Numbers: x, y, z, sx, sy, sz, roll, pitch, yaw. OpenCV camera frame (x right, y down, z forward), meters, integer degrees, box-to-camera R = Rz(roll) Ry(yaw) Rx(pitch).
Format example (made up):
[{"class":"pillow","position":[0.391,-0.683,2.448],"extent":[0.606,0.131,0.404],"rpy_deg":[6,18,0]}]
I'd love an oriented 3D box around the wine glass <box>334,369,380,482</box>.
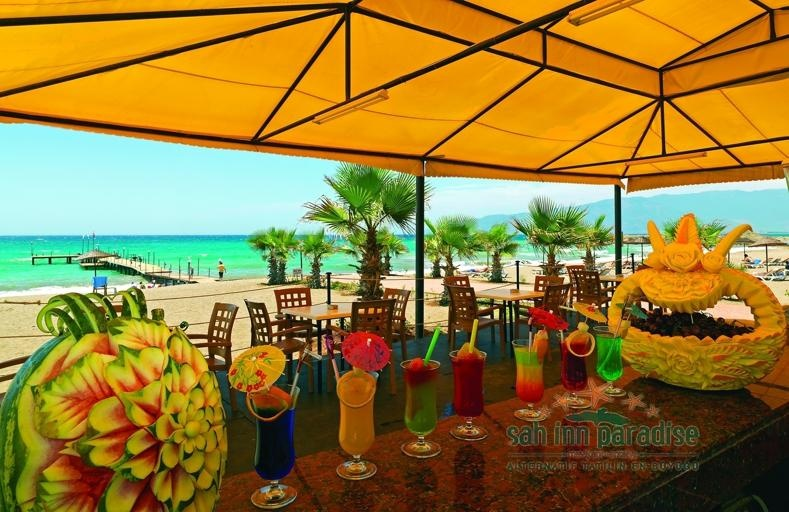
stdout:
[{"class":"wine glass","position":[-0.125,0.501,1.489],"extent":[0.124,0.330,0.156],"rpy_deg":[-1,-1,-7]}]

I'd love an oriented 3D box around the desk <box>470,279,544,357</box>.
[{"class":"desk","position":[1.514,0.754,6.448],"extent":[0.941,0.727,0.897],"rpy_deg":[-3,3,-45]}]

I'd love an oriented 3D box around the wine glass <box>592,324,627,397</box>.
[{"class":"wine glass","position":[0.898,0.423,1.968],"extent":[0.109,0.221,0.290],"rpy_deg":[-1,-1,24]}]

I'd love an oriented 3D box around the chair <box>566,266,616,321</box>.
[{"class":"chair","position":[3.161,0.548,7.695],"extent":[0.593,0.599,1.706],"rpy_deg":[-1,0,23]}]

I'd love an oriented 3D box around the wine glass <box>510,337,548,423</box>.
[{"class":"wine glass","position":[0.508,0.447,1.776],"extent":[0.118,0.205,0.253],"rpy_deg":[-1,-1,14]}]

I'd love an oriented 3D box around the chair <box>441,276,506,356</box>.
[{"class":"chair","position":[1.024,0.723,6.020],"extent":[0.754,0.883,1.687],"rpy_deg":[-1,0,6]}]

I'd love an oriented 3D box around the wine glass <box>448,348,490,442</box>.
[{"class":"wine glass","position":[0.263,0.464,1.701],"extent":[0.122,0.309,0.213],"rpy_deg":[-1,-1,7]}]

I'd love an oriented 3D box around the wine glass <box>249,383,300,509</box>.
[{"class":"wine glass","position":[-0.360,0.537,1.398],"extent":[0.143,0.329,0.178],"rpy_deg":[-1,-1,-16]}]

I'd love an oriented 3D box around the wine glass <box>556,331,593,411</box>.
[{"class":"wine glass","position":[0.708,0.412,1.840],"extent":[0.135,0.244,0.347],"rpy_deg":[-1,-1,22]}]

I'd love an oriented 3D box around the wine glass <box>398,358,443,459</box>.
[{"class":"wine glass","position":[0.086,0.494,1.612],"extent":[0.130,0.292,0.221],"rpy_deg":[-1,-1,3]}]
